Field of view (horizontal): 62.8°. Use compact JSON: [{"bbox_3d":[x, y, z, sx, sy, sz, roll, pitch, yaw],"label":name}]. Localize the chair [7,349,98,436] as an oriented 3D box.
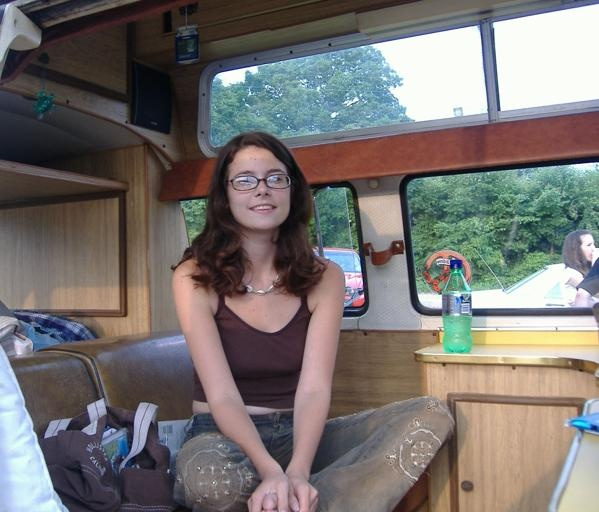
[{"bbox_3d":[-0.956,0.493,1.894,0.329,0.166,0.255,-1,0,35],"label":"chair"}]
